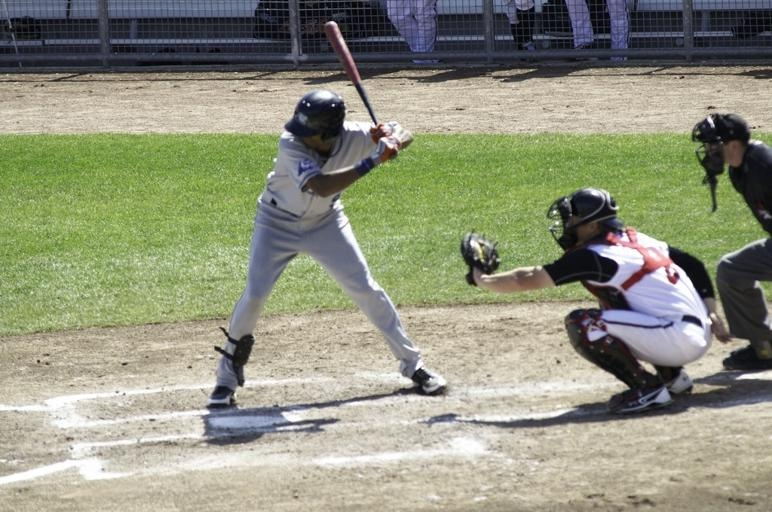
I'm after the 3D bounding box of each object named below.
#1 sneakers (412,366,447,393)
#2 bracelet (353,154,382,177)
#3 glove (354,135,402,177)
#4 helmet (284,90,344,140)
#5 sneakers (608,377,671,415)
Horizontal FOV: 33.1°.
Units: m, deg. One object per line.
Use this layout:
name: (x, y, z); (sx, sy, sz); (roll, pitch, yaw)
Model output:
sneakers: (0.442, 1.186, 12.429); (0.389, 0.156, 0.185); (14, 42, 39)
bracelet: (-0.154, -0.830, 11.992); (0.261, 0.149, 0.106); (-37, -8, -3)
glove: (-0.056, -0.921, 12.103); (0.596, 0.202, 0.201); (-33, -10, -33)
helmet: (-0.618, -1.351, 12.129); (0.696, 0.333, 0.431); (-6, 33, -4)
sneakers: (2.337, 1.304, 11.943); (0.513, 0.169, 0.277); (-4, -6, 0)
